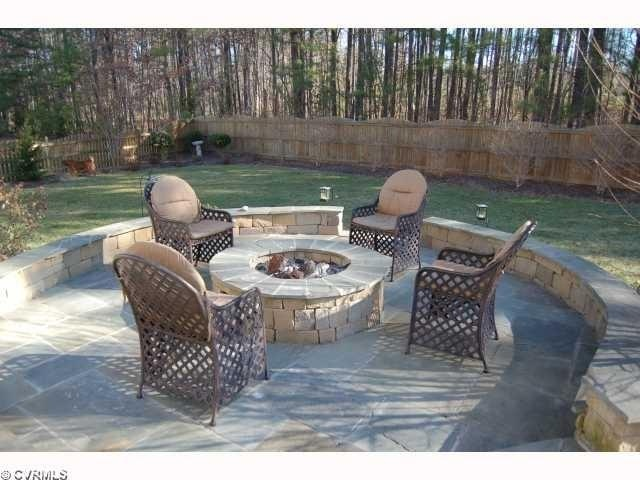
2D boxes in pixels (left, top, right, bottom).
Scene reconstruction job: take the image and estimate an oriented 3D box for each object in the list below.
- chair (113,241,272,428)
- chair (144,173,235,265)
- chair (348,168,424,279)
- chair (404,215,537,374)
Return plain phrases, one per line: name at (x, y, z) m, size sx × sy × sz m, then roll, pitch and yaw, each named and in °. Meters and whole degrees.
chair at (-1.002, 0.607, 3.601) m, size 0.969 × 1.346 × 1.057 m, roll 2°, pitch 16°, yaw 6°
chair at (-1.799, -0.180, 6.150) m, size 1.067 × 1.334 × 1.092 m, roll 2°, pitch 16°, yaw 4°
chair at (0.997, -0.314, 6.289) m, size 0.937 × 1.288 × 0.893 m, roll -13°, pitch 22°, yaw -31°
chair at (1.357, 0.421, 4.198) m, size 0.969 × 1.247 × 0.927 m, roll 7°, pitch 19°, yaw 24°
